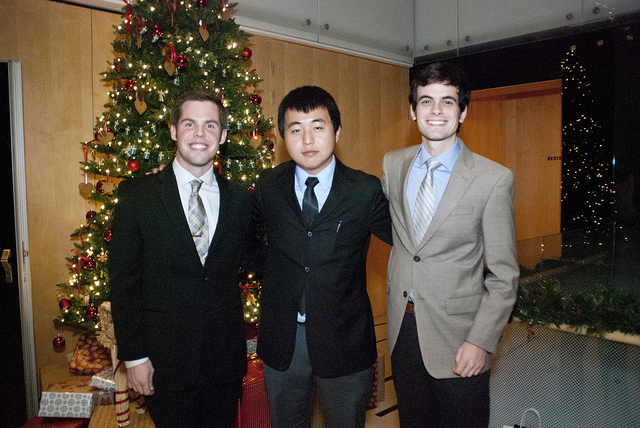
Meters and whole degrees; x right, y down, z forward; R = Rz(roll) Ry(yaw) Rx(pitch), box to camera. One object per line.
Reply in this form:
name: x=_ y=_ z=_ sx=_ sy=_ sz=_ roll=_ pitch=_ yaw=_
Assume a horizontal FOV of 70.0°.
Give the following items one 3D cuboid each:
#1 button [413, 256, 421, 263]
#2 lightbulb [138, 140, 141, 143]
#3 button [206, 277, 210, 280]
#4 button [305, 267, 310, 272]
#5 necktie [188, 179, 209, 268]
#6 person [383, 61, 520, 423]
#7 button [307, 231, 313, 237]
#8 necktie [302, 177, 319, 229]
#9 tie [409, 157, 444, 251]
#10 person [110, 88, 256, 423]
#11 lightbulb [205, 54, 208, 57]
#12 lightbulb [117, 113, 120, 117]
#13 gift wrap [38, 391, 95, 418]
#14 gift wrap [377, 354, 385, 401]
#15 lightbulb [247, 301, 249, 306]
button: x=0.597 y=0.271 z=2.768 sx=0.033 sy=0.037 sz=0.008 roll=-3 pitch=-8 yaw=16
lightbulb: x=-1.573 y=-0.633 z=3.965 sx=0.023 sy=0.022 sz=0.010 roll=-4 pitch=7 yaw=-6
button: x=-0.690 y=0.392 z=2.804 sx=0.021 sy=0.017 sz=0.003 roll=-7 pitch=8 yaw=-27
button: x=-0.076 y=0.341 z=2.842 sx=0.028 sy=0.031 sz=0.008 roll=0 pitch=-3 yaw=1
necktie: x=-0.754 y=0.045 z=2.848 sx=0.137 sy=0.520 sz=0.127 roll=1 pitch=7 yaw=29
person: x=0.794 y=0.184 z=2.794 sx=0.768 sy=2.191 sz=0.382 roll=-2 pitch=6 yaw=9
button: x=-0.061 y=0.125 z=2.870 sx=0.029 sy=0.032 sz=0.010 roll=-1 pitch=-4 yaw=6
necktie: x=-0.059 y=-0.073 z=2.933 sx=0.094 sy=0.315 sz=0.026 roll=-2 pitch=-13 yaw=7
tie: x=0.673 y=-0.084 z=2.843 sx=0.169 sy=0.603 sz=0.056 roll=11 pitch=-17 yaw=29
person: x=-0.839 y=0.273 z=2.884 sx=0.874 sy=2.093 sz=0.462 roll=-4 pitch=7 yaw=-11
lightbulb: x=-1.018 y=-1.416 z=4.084 sx=0.023 sy=0.022 sz=0.007 roll=-5 pitch=7 yaw=-14
lightbulb: x=-1.758 y=-0.864 z=3.967 sx=0.016 sy=0.028 sz=0.013 roll=-4 pitch=7 yaw=-9
gift wrap: x=-2.134 y=1.600 z=3.843 sx=0.314 sy=0.198 sz=0.215 roll=-1 pitch=4 yaw=-3
gift wrap: x=0.594 y=1.572 z=4.402 sx=0.055 sy=0.537 sz=0.174 roll=-3 pitch=6 yaw=1
lightbulb: x=-0.678 y=0.843 z=4.295 sx=0.019 sy=0.034 sz=0.020 roll=2 pitch=-5 yaw=-32
